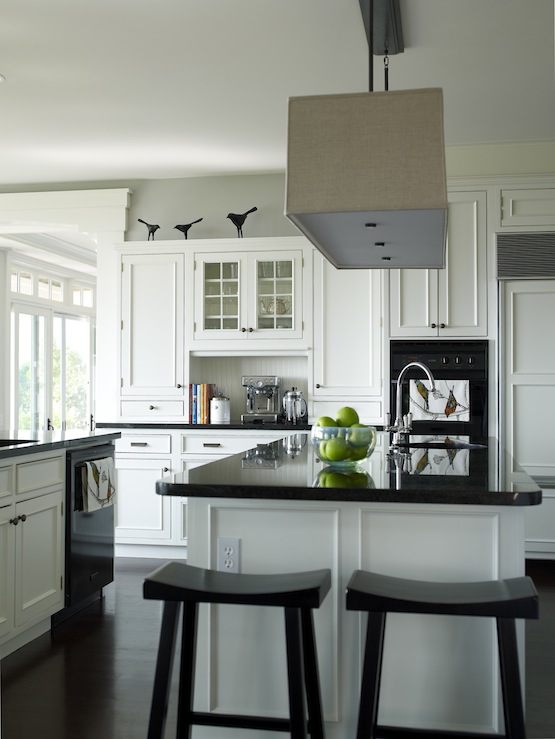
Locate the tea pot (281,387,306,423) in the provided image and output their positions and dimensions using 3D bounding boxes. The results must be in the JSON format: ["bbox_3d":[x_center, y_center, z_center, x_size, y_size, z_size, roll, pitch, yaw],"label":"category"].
[{"bbox_3d":[0.132,0.259,4.729,0.169,0.267,0.364,-1,-4,0],"label":"tea pot"}]

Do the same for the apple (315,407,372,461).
[{"bbox_3d":[0.203,0.210,1.999,0.164,0.161,0.174,0,1,-9],"label":"apple"}]

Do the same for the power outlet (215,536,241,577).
[{"bbox_3d":[-0.129,0.507,1.749,0.082,0.163,0.023,-1,-5,6],"label":"power outlet"}]

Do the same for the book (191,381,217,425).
[{"bbox_3d":[-0.567,0.243,5.005,0.209,0.435,0.313,0,0,10],"label":"book"}]

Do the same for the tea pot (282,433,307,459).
[{"bbox_3d":[0.075,0.328,2.783,0.064,0.111,0.063,1,-4,0],"label":"tea pot"}]

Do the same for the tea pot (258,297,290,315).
[{"bbox_3d":[-0.021,-0.458,4.780,0.170,0.085,0.133,0,0,17],"label":"tea pot"}]

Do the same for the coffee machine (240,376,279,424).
[{"bbox_3d":[-0.112,0.226,4.910,0.275,0.429,0.324,-1,-5,12],"label":"coffee machine"}]

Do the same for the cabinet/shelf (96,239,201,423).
[{"bbox_3d":[-1.038,-0.315,4.930,0.867,1.425,0.299,-3,-4,33],"label":"cabinet/shelf"}]

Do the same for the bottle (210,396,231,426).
[{"bbox_3d":[-0.394,0.310,4.777,0.162,0.201,0.173,-1,-4,3],"label":"bottle"}]
